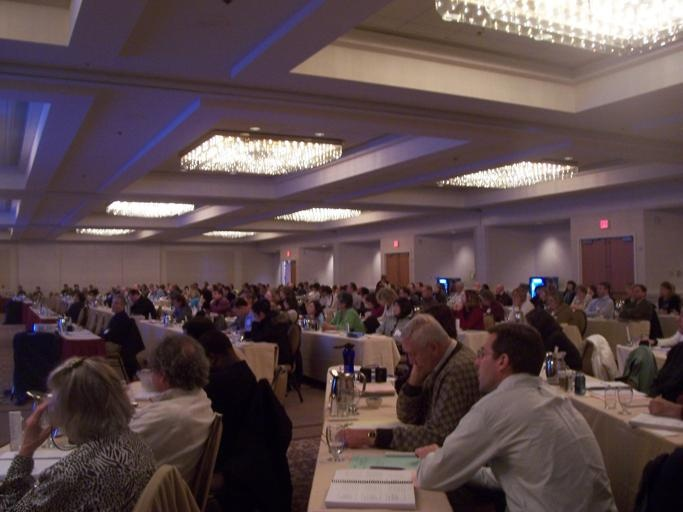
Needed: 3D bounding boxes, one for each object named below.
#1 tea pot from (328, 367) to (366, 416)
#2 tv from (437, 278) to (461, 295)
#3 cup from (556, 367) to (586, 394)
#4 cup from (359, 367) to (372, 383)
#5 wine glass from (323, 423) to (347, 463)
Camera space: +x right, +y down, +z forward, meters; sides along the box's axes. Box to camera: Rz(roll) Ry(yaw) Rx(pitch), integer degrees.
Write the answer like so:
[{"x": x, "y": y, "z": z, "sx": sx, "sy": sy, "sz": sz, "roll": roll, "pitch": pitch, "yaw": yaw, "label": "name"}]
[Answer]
[{"x": 0.034, "y": 0.884, "z": 3.355, "sx": 0.239, "sy": 0.332, "sz": 0.234, "roll": 2, "pitch": -3, "yaw": 0, "label": "tea pot"}, {"x": 3.247, "y": 0.887, "z": 15.949, "sx": 0.783, "sy": 0.635, "sz": 0.811, "roll": -2, "pitch": -8, "yaw": 31, "label": "tv"}, {"x": 1.782, "y": 0.978, "z": 3.960, "sx": 0.202, "sy": 0.236, "sz": 0.120, "roll": -2, "pitch": -1, "yaw": 30, "label": "cup"}, {"x": 0.169, "y": 0.896, "z": 3.843, "sx": 0.112, "sy": 0.123, "sz": 0.082, "roll": 5, "pitch": -8, "yaw": -38, "label": "cup"}, {"x": -0.028, "y": 0.974, "z": 2.632, "sx": 0.115, "sy": 0.212, "sz": 0.127, "roll": -3, "pitch": -7, "yaw": 7, "label": "wine glass"}]
